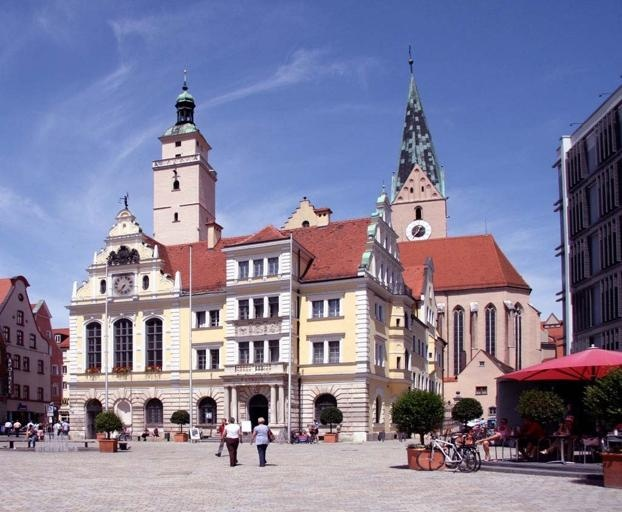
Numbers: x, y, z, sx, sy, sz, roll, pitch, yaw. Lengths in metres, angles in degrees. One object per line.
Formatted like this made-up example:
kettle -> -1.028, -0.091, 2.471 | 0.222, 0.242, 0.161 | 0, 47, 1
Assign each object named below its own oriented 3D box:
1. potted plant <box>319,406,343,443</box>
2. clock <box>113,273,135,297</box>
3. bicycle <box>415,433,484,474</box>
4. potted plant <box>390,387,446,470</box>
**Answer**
potted plant -> 1.318, 10.827, 68.626 | 1.745, 2.508, 1.929 | 0, -6, 1
clock -> -13.954, 2.120, 79.093 | 1.786, 1.685, 0.145 | -10, -18, 25
bicycle -> 5.706, 8.214, 43.537 | 2.410, 1.349, 1.199 | 1, -21, 15
potted plant -> 4.744, 7.252, 44.942 | 1.756, 3.377, 1.839 | -15, -15, 37
